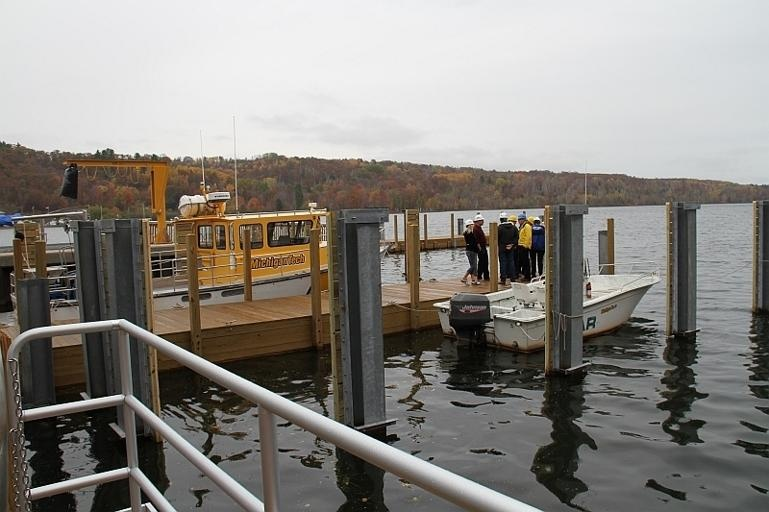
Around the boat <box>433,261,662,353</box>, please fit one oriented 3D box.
[{"bbox_3d":[3.886,1.499,14.600,5.220,1.603,2.153,-14,16,-25],"label":"boat"}]
